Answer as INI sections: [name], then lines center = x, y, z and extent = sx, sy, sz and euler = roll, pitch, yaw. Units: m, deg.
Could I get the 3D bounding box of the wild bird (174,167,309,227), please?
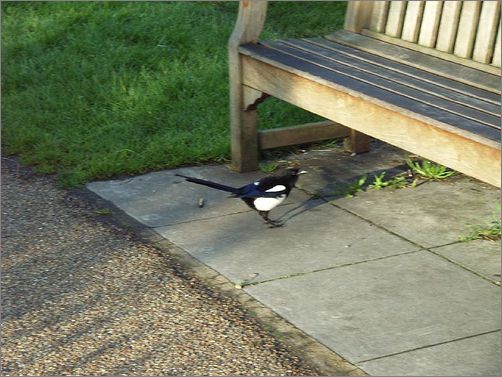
[wild bird]
center = 0.017, 0.072, 3.615
extent = 0.679, 0.401, 0.286
euler = 1, 29, 2
